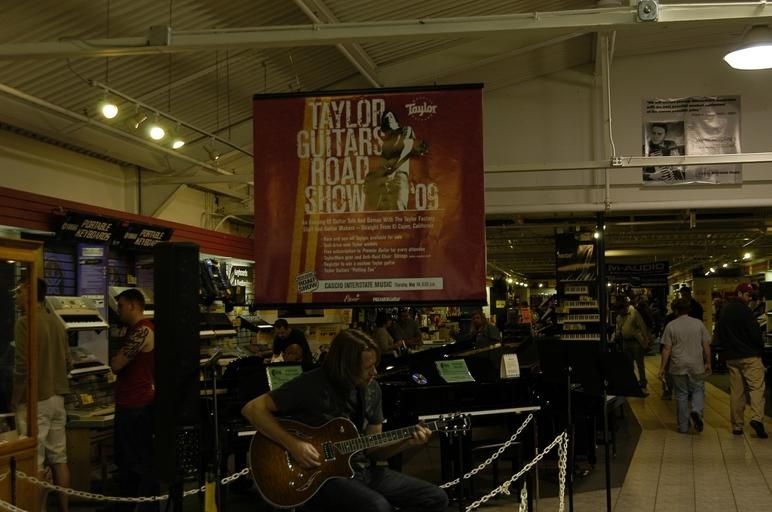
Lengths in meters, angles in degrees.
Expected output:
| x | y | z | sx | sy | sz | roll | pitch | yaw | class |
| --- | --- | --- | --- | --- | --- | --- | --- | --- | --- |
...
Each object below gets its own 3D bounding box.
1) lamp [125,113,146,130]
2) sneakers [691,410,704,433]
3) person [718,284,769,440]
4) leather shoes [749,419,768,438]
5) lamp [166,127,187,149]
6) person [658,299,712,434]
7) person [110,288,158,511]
| x | y | z | sx | sy | sz | roll | pitch | yaw | class |
| --- | --- | --- | --- | --- | --- | --- | --- | --- | --- |
| -3.425 | -1.905 | 9.833 | 0.244 | 0.128 | 0.355 | 5 | 28 | 19 | lamp |
| 4.741 | 2.531 | 10.768 | 0.146 | 0.403 | 0.174 | -17 | -11 | 37 | sneakers |
| 5.448 | 1.624 | 10.757 | 0.619 | 1.618 | 0.737 | -3 | -2 | 27 | person |
| 5.549 | 2.555 | 10.448 | 0.154 | 0.189 | 0.470 | -1 | 8 | 8 | leather shoes |
| -3.275 | -1.846 | 10.897 | 0.228 | 0.335 | 0.322 | 16 | -35 | -41 | lamp |
| 4.650 | 1.688 | 10.917 | 0.708 | 1.357 | 0.658 | -2 | -2 | 21 | person |
| -2.756 | 1.508 | 7.652 | 0.526 | 2.260 | 0.353 | -2 | -2 | 2 | person |
